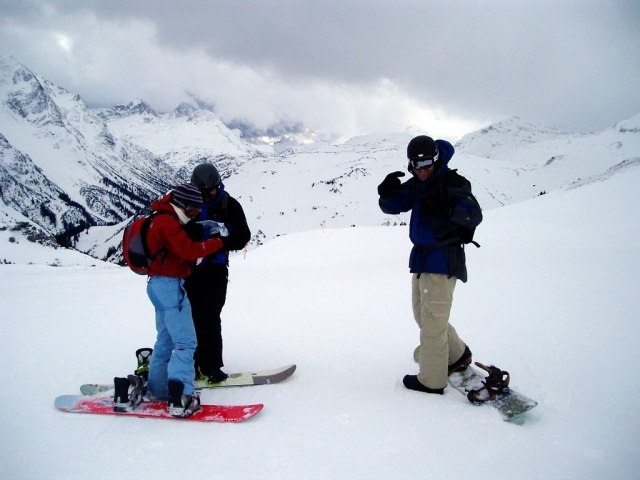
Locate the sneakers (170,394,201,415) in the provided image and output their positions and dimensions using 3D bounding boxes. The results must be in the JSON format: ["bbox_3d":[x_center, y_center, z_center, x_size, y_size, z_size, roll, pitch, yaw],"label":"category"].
[{"bbox_3d":[-2.135,2.632,9.665,0.474,0.237,0.239,-2,4,-24],"label":"sneakers"}]

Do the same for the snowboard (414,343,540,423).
[{"bbox_3d":[2.680,2.282,9.825,0.522,0.249,1.677,-21,26,-25],"label":"snowboard"}]

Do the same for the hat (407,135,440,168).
[{"bbox_3d":[1.700,-1.452,9.970,0.402,0.525,0.567,-2,29,21],"label":"hat"}]

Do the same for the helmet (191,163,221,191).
[{"bbox_3d":[-1.907,-1.062,10.256,0.356,0.383,0.478,-5,7,-14],"label":"helmet"}]
